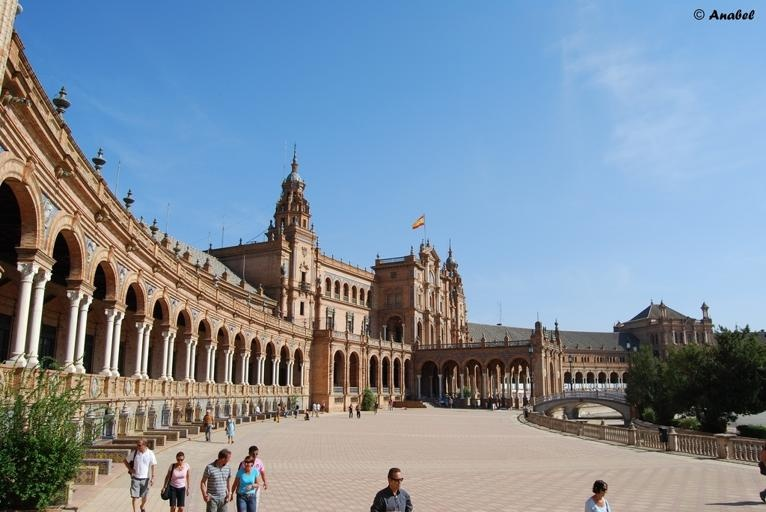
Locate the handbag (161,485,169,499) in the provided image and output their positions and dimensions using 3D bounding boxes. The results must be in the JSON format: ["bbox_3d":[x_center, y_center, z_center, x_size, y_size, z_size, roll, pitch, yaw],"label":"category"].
[{"bbox_3d":[-5.772,6.338,16.969,0.179,0.279,0.435,6,-19,-18],"label":"handbag"}]
